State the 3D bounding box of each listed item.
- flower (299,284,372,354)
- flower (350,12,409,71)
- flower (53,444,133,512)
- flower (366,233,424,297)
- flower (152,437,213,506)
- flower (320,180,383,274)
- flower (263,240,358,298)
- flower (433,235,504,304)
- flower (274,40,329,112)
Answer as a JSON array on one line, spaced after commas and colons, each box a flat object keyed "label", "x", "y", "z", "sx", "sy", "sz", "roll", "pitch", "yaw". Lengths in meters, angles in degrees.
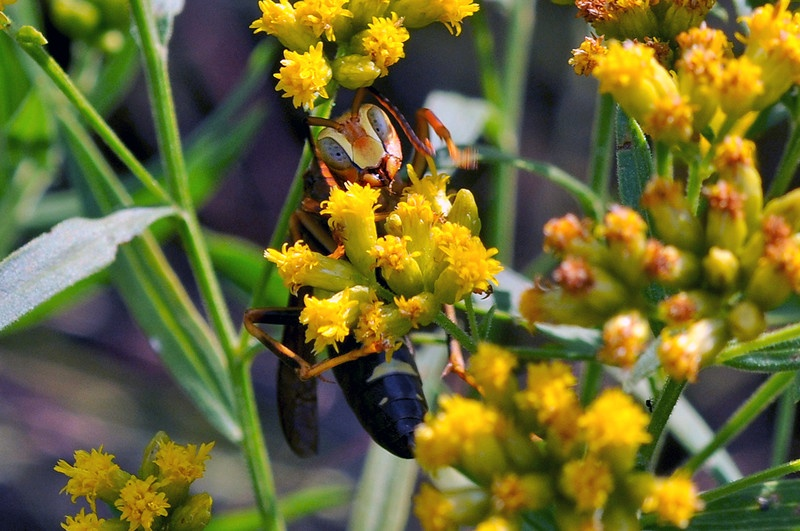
[{"label": "flower", "x": -0.137, "y": 0.107, "z": 1.816, "sx": 0.153, "sy": 0.120, "sz": 0.087, "roll": -42, "pitch": 24, "yaw": -29}, {"label": "flower", "x": -0.054, "y": -0.505, "z": 1.914, "sx": 0.077, "sy": 0.071, "sz": 0.092, "roll": 17, "pitch": 56, "yaw": 27}, {"label": "flower", "x": -0.677, "y": 0.476, "z": 1.928, "sx": 0.143, "sy": 0.157, "sz": 0.082, "roll": -1, "pitch": 2, "yaw": 26}, {"label": "flower", "x": -0.014, "y": -0.009, "z": 1.834, "sx": 0.112, "sy": 0.078, "sz": 0.169, "roll": -4, "pitch": -19, "yaw": -4}, {"label": "flower", "x": -0.481, "y": 0.469, "z": 1.869, "sx": 0.091, "sy": 0.125, "sz": 0.099, "roll": 14, "pitch": -12, "yaw": -6}, {"label": "flower", "x": -0.100, "y": -0.086, "z": 1.838, "sx": 0.118, "sy": 0.178, "sz": 0.117, "roll": -31, "pitch": -13, "yaw": 12}, {"label": "flower", "x": -0.189, "y": 0.008, "z": 1.860, "sx": 0.200, "sy": 0.093, "sz": 0.098, "roll": 13, "pitch": 31, "yaw": 3}, {"label": "flower", "x": 0.139, "y": 0.023, "z": 1.802, "sx": 0.128, "sy": 0.095, "sz": 0.132, "roll": -4, "pitch": 41, "yaw": -24}, {"label": "flower", "x": -0.202, "y": -0.430, "z": 1.929, "sx": 0.109, "sy": 0.141, "sz": 0.145, "roll": 1, "pitch": 5, "yaw": 12}]
